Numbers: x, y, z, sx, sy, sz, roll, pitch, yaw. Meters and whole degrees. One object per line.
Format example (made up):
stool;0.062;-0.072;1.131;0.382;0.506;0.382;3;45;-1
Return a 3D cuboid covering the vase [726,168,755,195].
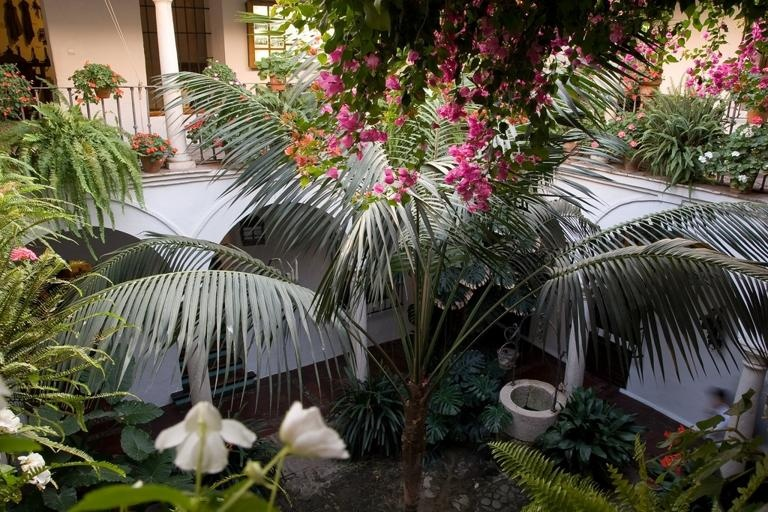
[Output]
vase;4.612;-0.957;5.701;0.282;0.261;0.309;-1;9;5

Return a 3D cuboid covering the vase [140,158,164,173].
vase;-3.459;-1.334;6.577;0.250;0.183;0.251;-1;13;-11

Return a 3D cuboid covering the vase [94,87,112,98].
vase;-4.099;-2.360;6.459;0.175;0.122;0.175;-3;-1;-11

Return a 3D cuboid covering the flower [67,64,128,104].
flower;-4.138;-2.463;6.337;0.684;0.544;0.506;12;19;26

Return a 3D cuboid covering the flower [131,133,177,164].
flower;-3.388;-1.594;6.449;0.485;0.363;0.505;13;9;5
